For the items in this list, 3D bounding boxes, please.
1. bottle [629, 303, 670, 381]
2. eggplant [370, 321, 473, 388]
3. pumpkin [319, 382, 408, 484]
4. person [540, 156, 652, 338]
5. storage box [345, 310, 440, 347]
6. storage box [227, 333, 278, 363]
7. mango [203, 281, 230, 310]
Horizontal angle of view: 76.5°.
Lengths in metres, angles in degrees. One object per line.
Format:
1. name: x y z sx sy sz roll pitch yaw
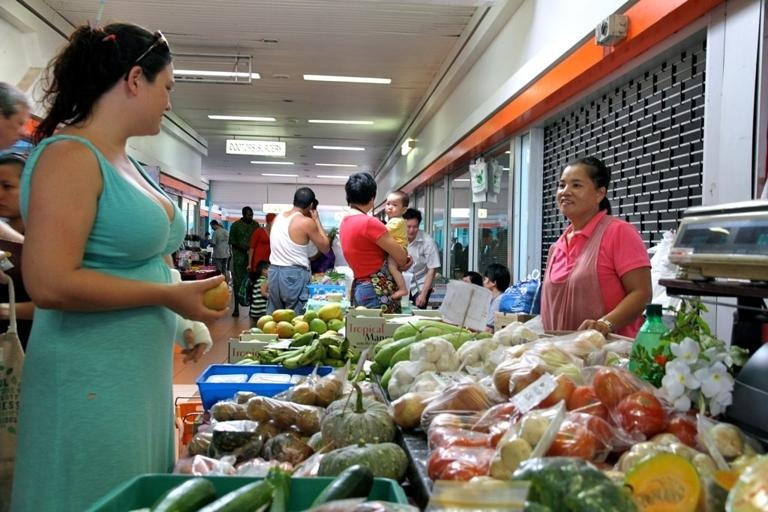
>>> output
1. bottle: 0.895 0.287 1.620 0.116 0.291 0.115 -9 16 3
2. eggplant: 0.153 0.475 2.493 0.402 0.295 0.485 -1 5 -23
3. pumpkin: -0.077 0.626 1.678 0.262 0.384 0.277 4 9 11
4. person: 1.177 -0.076 2.859 0.480 1.051 0.623 4 -2 -24
5. storage box: -0.065 0.466 3.419 0.423 0.188 0.323 1 -4 -1
6. storage box: -0.899 0.584 3.273 0.220 0.106 0.234 -1 1 -3
7. mango: -0.598 0.156 1.750 0.092 0.094 0.085 0 -38 -29
